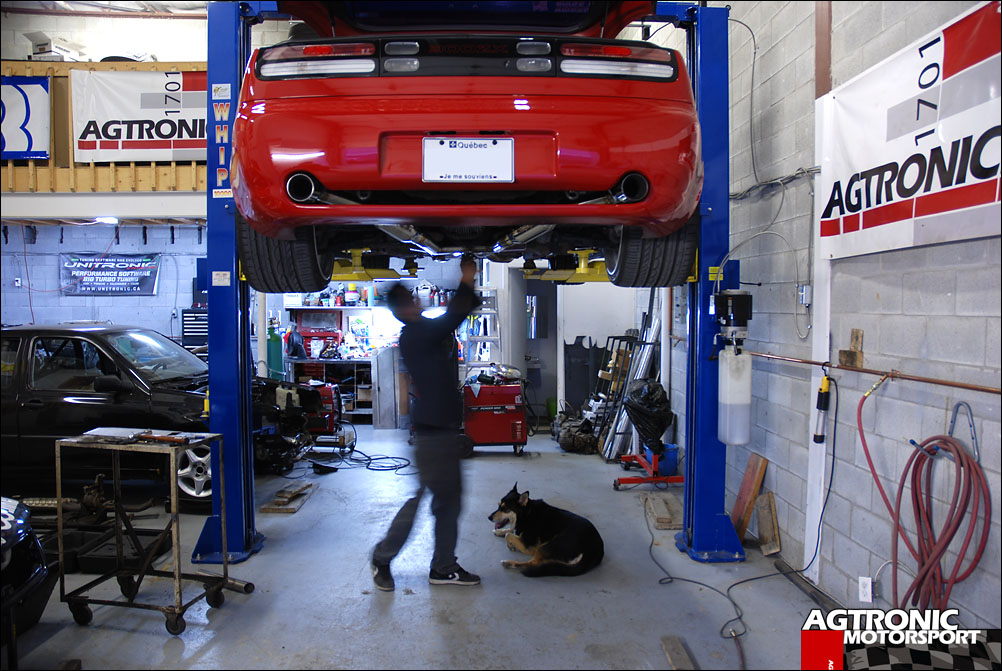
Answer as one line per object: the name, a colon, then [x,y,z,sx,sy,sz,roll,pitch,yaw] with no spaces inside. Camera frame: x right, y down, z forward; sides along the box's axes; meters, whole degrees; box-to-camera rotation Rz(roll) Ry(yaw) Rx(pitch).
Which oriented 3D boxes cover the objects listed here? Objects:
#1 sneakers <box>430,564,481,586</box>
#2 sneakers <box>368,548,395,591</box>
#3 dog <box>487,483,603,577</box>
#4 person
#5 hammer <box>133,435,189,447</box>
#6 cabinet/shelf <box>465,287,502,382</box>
sneakers: [-0.335,1.766,5.727,0.371,0.152,0.138,0,-7,0]
sneakers: [-0.865,1.732,5.605,0.112,0.134,0.329,2,-2,-18]
dog: [0.295,1.496,6.107,0.826,0.450,1.048,1,12,-29]
person: [-0.551,0.627,5.605,0.870,2.355,0.564,-4,12,-15]
hammer: [-2.321,0.711,5.302,0.385,0.034,0.166,2,12,15]
cabinet/shelf: [-0.242,-0.096,10.387,0.543,0.971,0.555,-6,0,9]
